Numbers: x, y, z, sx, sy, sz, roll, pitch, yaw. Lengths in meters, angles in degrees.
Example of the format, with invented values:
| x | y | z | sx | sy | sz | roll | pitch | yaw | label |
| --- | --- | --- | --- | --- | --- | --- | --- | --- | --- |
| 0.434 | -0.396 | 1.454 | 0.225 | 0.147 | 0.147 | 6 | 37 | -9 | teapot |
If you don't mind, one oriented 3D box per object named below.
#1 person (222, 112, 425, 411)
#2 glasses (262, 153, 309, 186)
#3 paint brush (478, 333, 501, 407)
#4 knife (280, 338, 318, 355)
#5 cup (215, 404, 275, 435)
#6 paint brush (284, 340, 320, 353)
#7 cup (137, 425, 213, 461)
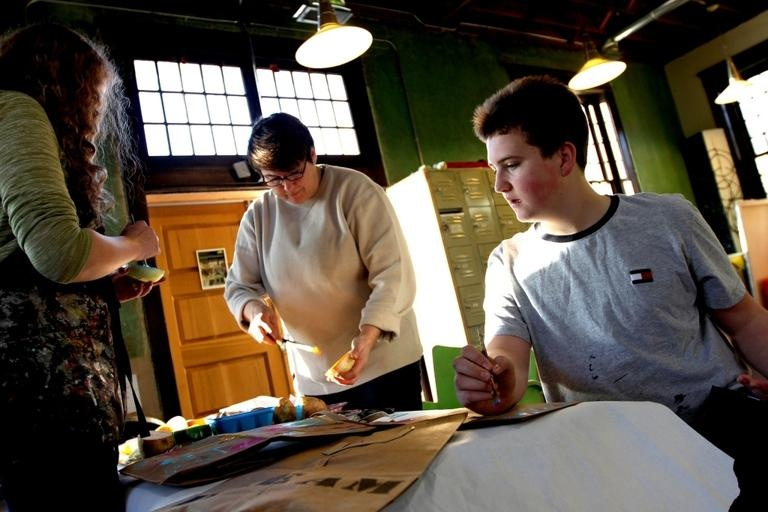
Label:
| x | y | z | sx | sy | sz | roll | pitch | yaw | label |
| --- | --- | --- | --- | --- | --- | --- | --- | --- | --- |
| -0.291 | 0.028 | 1.932 | 0.735 | 0.949 | 0.490 | -5 | 4 | 27 | person |
| -0.405 | -0.336 | 1.900 | 0.208 | 0.092 | 0.099 | -5 | 3 | 17 | glasses |
| 0.277 | 0.304 | 1.218 | 0.036 | 0.136 | 0.038 | -7 | -12 | -14 | paint brush |
| -0.337 | 0.361 | 1.921 | 0.178 | 0.047 | 0.043 | 15 | -16 | 23 | knife |
| -0.451 | 0.535 | 1.551 | 0.156 | 0.055 | 0.107 | -16 | -8 | 2 | cup |
| -0.325 | 0.360 | 1.917 | 0.128 | 0.032 | 0.033 | 13 | -13 | 27 | paint brush |
| -0.647 | 0.559 | 1.454 | 0.141 | 0.067 | 0.197 | -6 | -11 | -41 | cup |
